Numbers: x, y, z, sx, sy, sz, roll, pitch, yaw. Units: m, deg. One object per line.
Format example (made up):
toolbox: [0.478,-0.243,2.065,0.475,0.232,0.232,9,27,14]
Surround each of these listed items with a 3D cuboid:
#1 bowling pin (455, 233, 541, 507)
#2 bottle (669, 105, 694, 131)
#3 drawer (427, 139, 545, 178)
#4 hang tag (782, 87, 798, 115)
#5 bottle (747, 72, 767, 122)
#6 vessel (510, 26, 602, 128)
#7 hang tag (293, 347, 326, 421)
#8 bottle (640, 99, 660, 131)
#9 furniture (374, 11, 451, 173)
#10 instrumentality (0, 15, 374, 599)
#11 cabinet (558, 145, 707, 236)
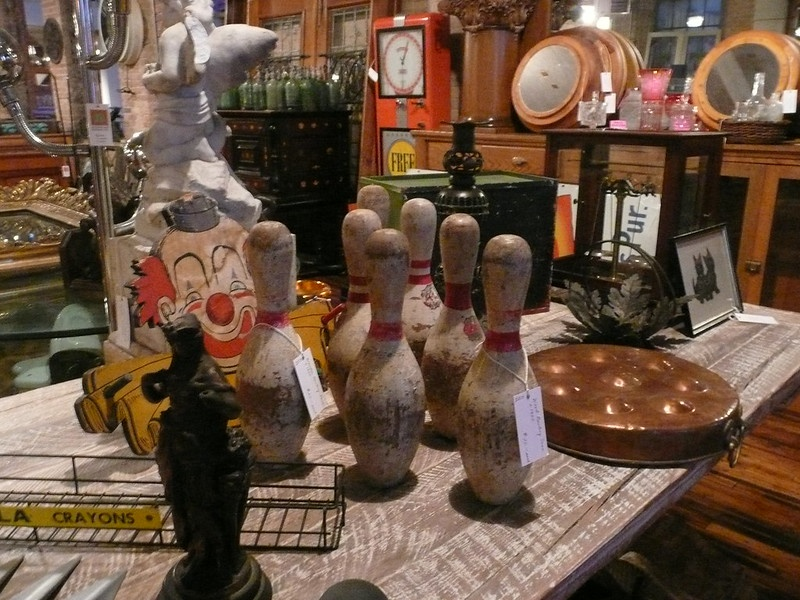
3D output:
bowling pin: [0.173,0.128,0.976,0.151,0.481,0.176,-1,21,5]
bottle: [1.075,-0.711,2.150,0.090,0.107,0.269,7,19,24]
drawer: [0.391,-0.790,3.042,0.089,0.167,0.877,-18,23,-36]
hang tag: [1.789,-0.925,2.587,0.071,0.106,0.104,9,22,28]
bottle: [1.649,-0.952,2.591,0.070,0.214,0.146,9,23,27]
vessel: [0.768,-1.085,2.776,0.215,0.453,0.491,-12,21,-23]
hang tag: [-0.172,0.147,1.029,0.014,0.119,0.104,-9,0,10]
bottle: [0.975,-0.730,2.182,0.080,0.108,0.084,-2,20,1]
furniture: [0.085,-1.271,3.718,0.333,1.128,0.551,-19,27,-35]
instrumentality: [-0.478,0.051,1.563,0.820,1.426,0.855,-3,0,-2]
cabinet: [0.819,-0.387,2.017,0.560,0.351,0.384,6,20,21]
